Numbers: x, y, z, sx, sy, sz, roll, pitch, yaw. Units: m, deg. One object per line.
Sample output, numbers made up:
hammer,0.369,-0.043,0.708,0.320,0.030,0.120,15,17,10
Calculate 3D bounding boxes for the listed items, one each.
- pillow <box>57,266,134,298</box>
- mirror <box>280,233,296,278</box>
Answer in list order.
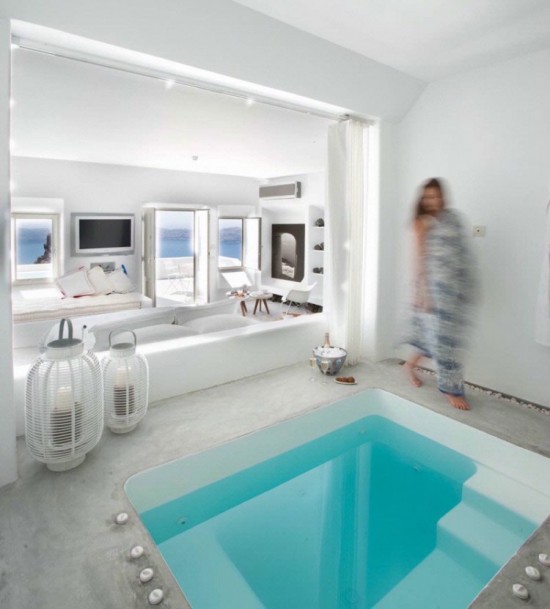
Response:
pillow,-1.585,-0.203,3.777,0.087,0.261,0.546,-24,-4,30
mirror,0.281,-1.047,9.134,0.109,0.919,0.639,1,14,-31
